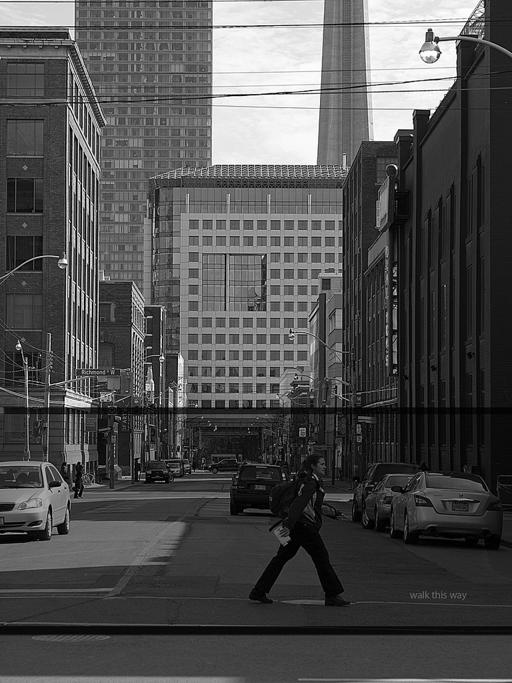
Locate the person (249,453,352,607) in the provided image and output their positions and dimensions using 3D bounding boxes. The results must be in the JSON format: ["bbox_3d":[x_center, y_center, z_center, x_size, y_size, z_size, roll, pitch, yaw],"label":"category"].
[{"bbox_3d":[0.468,1.893,12.375,0.854,1.590,0.586,2,5,-1],"label":"person"}]

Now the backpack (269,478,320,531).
[{"bbox_3d":[0.410,1.659,12.310,0.515,0.540,0.514,0,-4,3],"label":"backpack"}]
